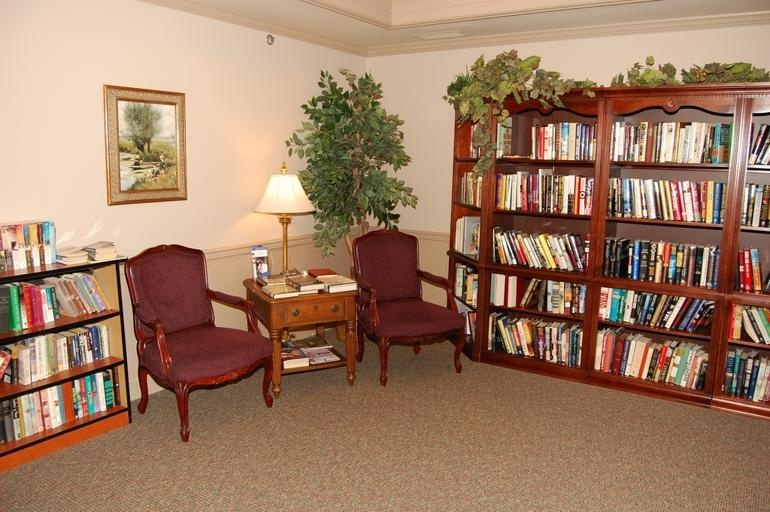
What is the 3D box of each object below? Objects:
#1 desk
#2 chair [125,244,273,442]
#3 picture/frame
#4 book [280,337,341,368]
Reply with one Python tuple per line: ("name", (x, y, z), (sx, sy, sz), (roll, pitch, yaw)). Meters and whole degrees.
("desk", (-0.880, 0.651, 5.511), (1.226, 1.117, 1.082), (-4, 7, -28))
("chair", (-1.600, 0.685, 4.674), (0.903, 1.544, 0.987), (8, 15, 41))
("picture/frame", (-2.177, -1.024, 4.799), (0.047, 1.036, 0.785), (9, 16, 44))
("book", (-0.797, 0.997, 5.412), (0.325, 0.076, 0.329), (-5, 16, -26))
